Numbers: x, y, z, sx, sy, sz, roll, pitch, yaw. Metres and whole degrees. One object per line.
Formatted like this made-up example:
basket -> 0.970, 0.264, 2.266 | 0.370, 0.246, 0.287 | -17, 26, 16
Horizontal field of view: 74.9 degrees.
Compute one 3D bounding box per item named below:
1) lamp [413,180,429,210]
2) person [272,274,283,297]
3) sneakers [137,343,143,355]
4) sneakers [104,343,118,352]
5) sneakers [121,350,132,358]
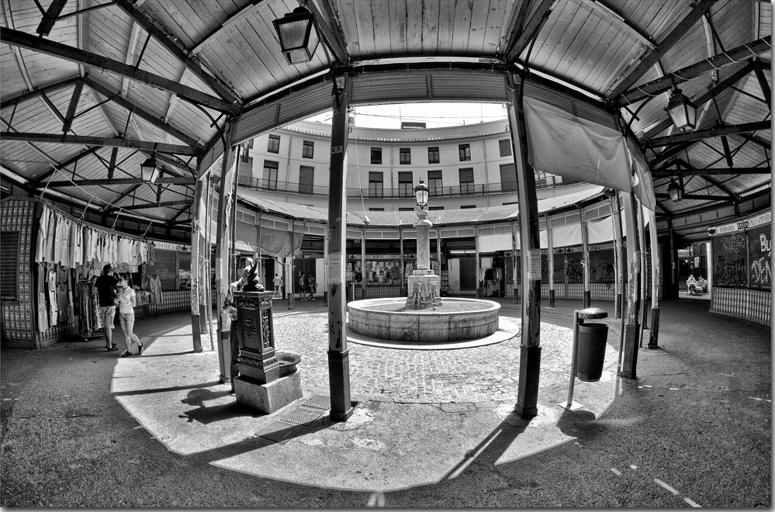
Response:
lamp -> 1.077, -1.956, 16.509 | 0.382, 0.933, 1.046 | -2, -1, 2
person -> -6.003, 1.658, 27.975 | 0.421, 1.338, 1.816 | -2, -1, -8
sneakers -> -6.532, 2.432, 13.312 | 0.131, 0.353, 0.143 | -3, -3, 9
sneakers -> -7.392, 2.452, 13.660 | 0.162, 0.194, 0.450 | 0, -2, 17
sneakers -> -6.748, 2.513, 13.094 | 0.265, 0.128, 0.370 | -2, -1, -32
